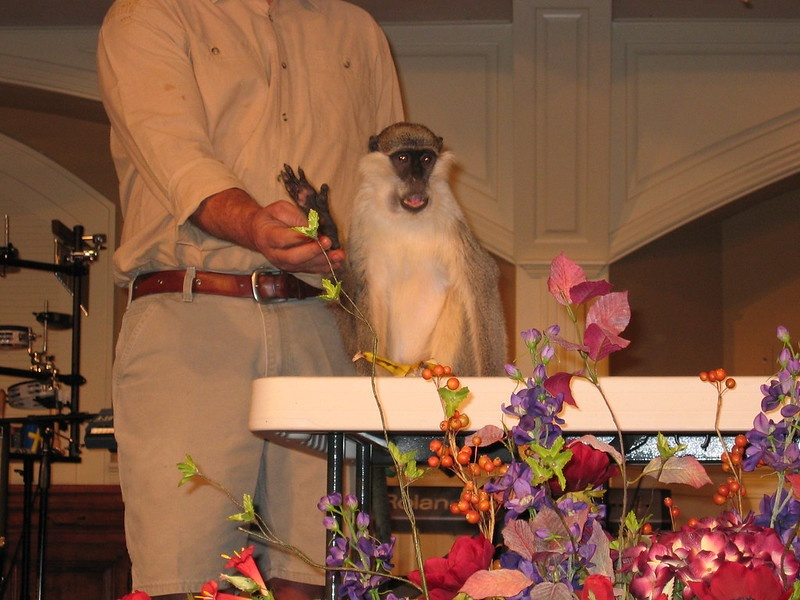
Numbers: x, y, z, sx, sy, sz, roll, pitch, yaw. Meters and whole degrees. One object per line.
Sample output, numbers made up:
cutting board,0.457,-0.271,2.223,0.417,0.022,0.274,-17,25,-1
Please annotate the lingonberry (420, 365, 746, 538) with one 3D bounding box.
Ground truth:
lingonberry,0.945,0.680,7.708,1.560,0.308,0.256,3,-15,-5

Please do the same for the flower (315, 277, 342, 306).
flower,-0.277,-0.030,7.679,0.101,0.086,0.099,-30,-27,-33

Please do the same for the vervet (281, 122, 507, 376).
vervet,-0.001,-0.234,8.245,0.779,1.053,0.734,0,4,4
